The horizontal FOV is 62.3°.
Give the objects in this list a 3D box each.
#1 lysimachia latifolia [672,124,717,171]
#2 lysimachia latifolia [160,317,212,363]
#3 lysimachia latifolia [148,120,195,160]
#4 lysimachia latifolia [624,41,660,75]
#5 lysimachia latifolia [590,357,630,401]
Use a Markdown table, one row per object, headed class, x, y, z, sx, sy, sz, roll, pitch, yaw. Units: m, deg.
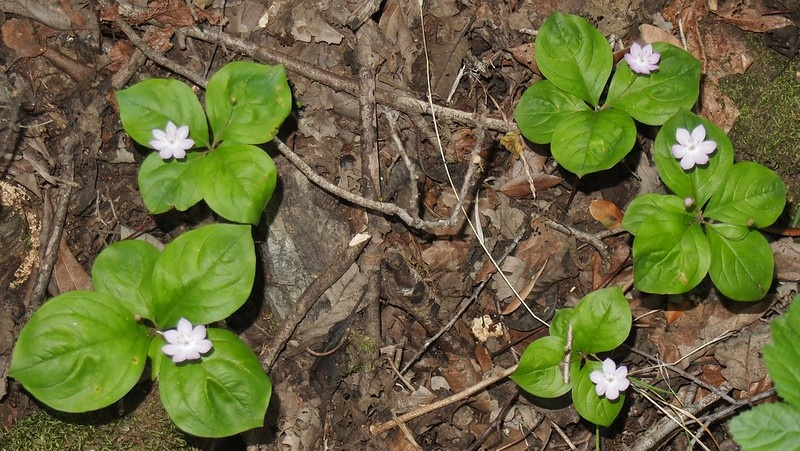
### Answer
| class | x | y | z | sx | sy | sz | roll | pitch | yaw |
| --- | --- | --- | --- | --- | --- | --- | --- | --- | --- |
| lysimachia latifolia | 2.958 | -0.807 | 6.708 | 0.370 | 0.360 | 0.327 | -2 | 50 | -8 |
| lysimachia latifolia | -2.145 | 1.141 | 6.621 | 0.464 | 0.364 | 0.397 | -19 | 54 | -20 |
| lysimachia latifolia | -2.359 | -0.871 | 6.852 | 0.445 | 0.304 | 0.331 | -9 | 52 | -14 |
| lysimachia latifolia | 2.523 | -1.723 | 6.931 | 0.318 | 0.135 | 0.317 | -45 | 80 | 2 |
| lysimachia latifolia | 2.129 | 1.585 | 6.782 | 0.375 | 0.346 | 0.289 | 30 | 53 | 18 |
